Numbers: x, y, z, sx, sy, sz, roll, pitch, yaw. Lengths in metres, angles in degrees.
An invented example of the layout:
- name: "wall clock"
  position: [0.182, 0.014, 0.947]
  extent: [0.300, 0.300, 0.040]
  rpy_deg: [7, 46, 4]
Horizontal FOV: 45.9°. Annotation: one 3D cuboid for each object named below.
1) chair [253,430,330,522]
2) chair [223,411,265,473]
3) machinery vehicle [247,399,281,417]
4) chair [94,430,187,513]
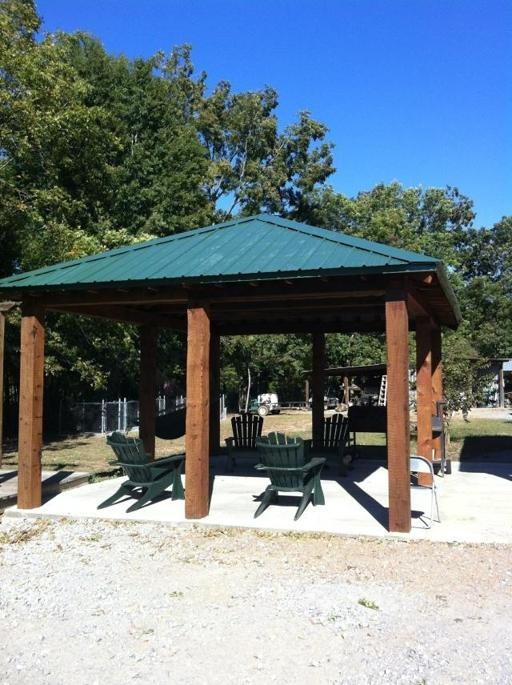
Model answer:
- name: "chair"
  position: [0.376, 1.489, 6.967]
  extent: [0.670, 0.870, 0.909]
  rpy_deg: [-4, -6, 25]
- name: "chair"
  position: [-0.202, 1.625, 10.429]
  extent: [0.847, 0.901, 0.702]
  rpy_deg: [-9, 12, -7]
- name: "machinery vehicle"
  position: [0.271, 3.760, 34.813]
  extent: [1.514, 0.741, 1.035]
  rpy_deg: [-3, -1, 25]
- name: "chair"
  position: [-1.343, 1.522, 7.264]
  extent: [0.739, 0.821, 1.061]
  rpy_deg: [-4, -5, 19]
